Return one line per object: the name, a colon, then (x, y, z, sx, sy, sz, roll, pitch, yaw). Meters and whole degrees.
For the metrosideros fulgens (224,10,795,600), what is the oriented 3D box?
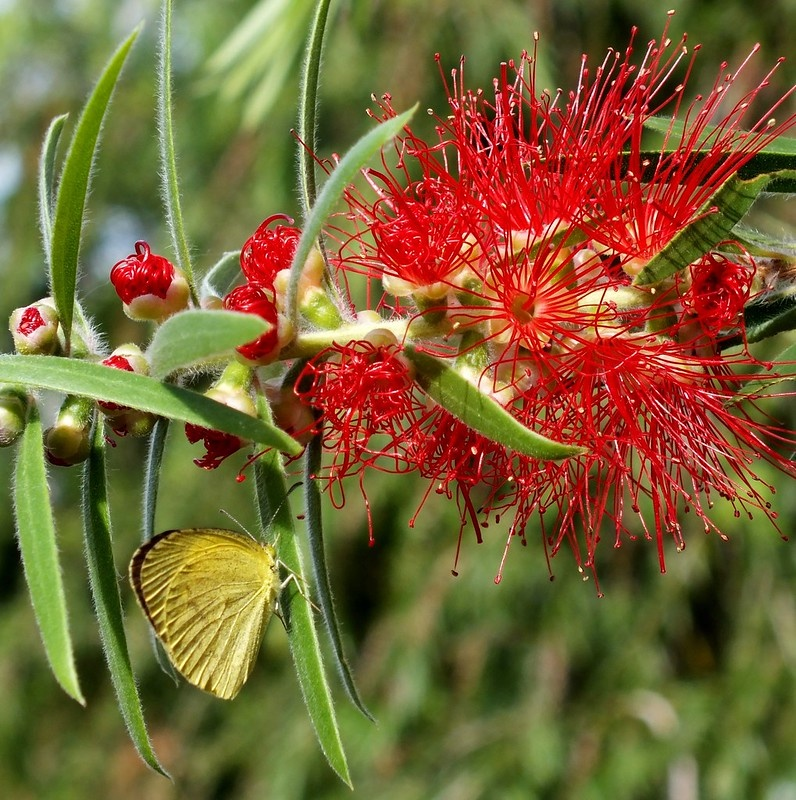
metrosideros fulgens: (0.205, -0.130, 1.590, 0.933, 0.658, 0.749, 4, -7, 5)
